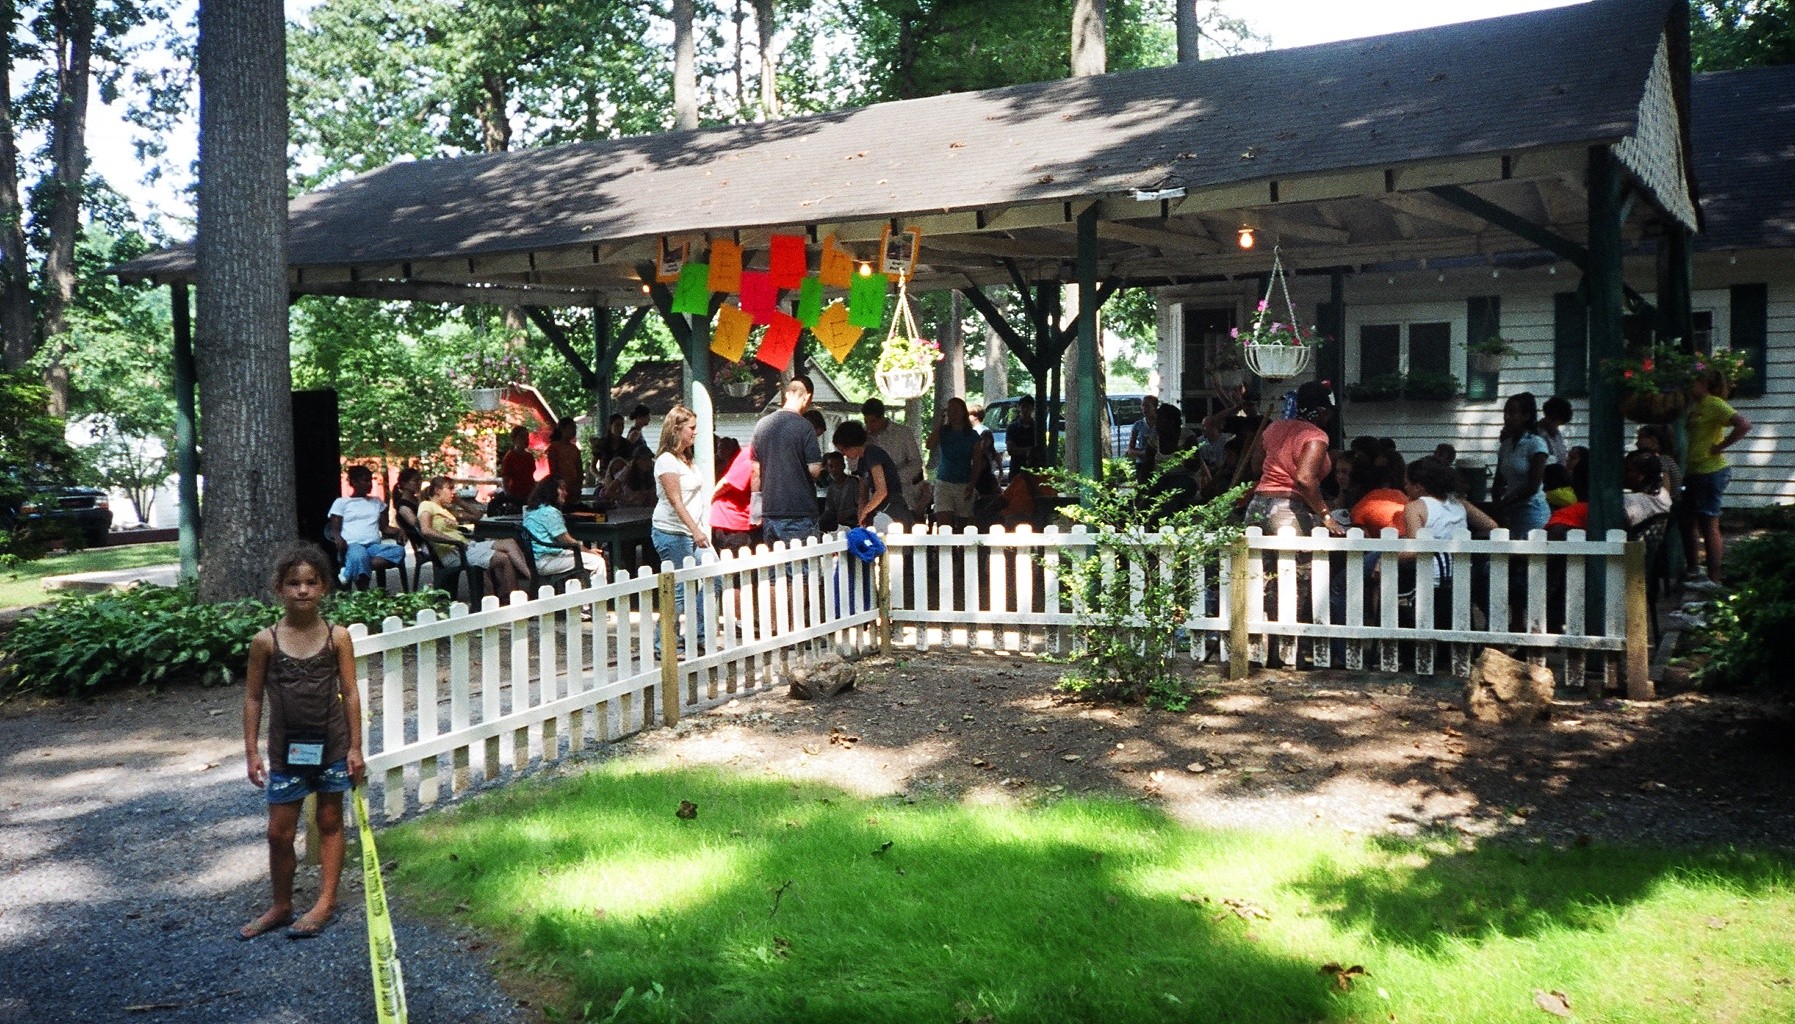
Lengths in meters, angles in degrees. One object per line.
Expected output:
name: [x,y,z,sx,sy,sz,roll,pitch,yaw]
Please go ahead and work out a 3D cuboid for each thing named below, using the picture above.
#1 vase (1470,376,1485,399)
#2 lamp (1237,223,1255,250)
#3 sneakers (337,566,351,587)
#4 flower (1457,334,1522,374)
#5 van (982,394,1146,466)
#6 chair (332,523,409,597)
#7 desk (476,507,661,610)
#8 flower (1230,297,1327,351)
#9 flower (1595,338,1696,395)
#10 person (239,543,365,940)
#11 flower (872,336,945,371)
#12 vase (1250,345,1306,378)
vase: [8.987,-1.908,22.217,0.317,0.296,0.190,3,6,13]
lamp: [4.389,-3.424,17.856,0.341,0.358,0.339,2,8,14]
sneakers: [-6.862,0.800,17.860,0.180,0.225,0.225,-1,40,-19]
flower: [9.013,-2.366,21.882,0.624,0.426,0.604,1,0,-29]
van: [4.552,-2.002,33.581,1.586,1.582,3.252,14,11,29]
chair: [-6.595,0.638,17.932,0.698,0.936,0.745,0,-10,-35]
desk: [-3.759,0.397,17.075,1.678,0.793,1.229,2,2,30]
flower: [5.506,-2.679,20.444,1.391,0.755,1.823,7,10,23]
flower: [7.790,-1.513,15.046,0.856,0.506,0.881,-12,1,36]
person: [-4.497,1.699,10.813,0.903,2.896,0.568,-5,6,-18]
flower: [0.130,-1.748,15.844,0.631,0.380,0.386,-3,5,-4]
vase: [4.336,-1.730,16.510,0.606,0.414,0.945,1,6,33]
